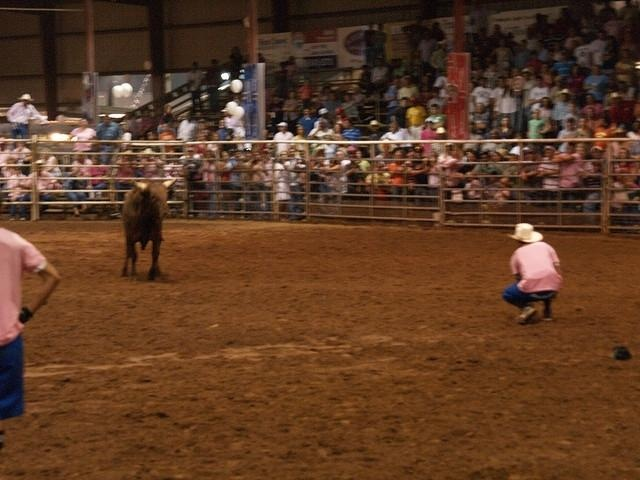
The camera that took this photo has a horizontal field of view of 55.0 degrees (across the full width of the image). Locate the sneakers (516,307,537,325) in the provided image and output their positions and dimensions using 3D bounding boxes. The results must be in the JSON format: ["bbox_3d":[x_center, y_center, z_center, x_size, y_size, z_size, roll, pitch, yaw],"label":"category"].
[{"bbox_3d":[2.641,0.956,7.819,0.196,0.141,0.347,-21,2,21],"label":"sneakers"}]

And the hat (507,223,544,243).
[{"bbox_3d":[2.674,-0.080,8.127,0.449,0.128,0.415,-6,9,-9],"label":"hat"}]

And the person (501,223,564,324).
[{"bbox_3d":[2.725,0.432,7.878,0.709,1.233,0.633,-2,15,-2],"label":"person"}]

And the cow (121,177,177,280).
[{"bbox_3d":[-2.974,-0.172,10.431,1.025,1.636,0.690,11,20,39],"label":"cow"}]
